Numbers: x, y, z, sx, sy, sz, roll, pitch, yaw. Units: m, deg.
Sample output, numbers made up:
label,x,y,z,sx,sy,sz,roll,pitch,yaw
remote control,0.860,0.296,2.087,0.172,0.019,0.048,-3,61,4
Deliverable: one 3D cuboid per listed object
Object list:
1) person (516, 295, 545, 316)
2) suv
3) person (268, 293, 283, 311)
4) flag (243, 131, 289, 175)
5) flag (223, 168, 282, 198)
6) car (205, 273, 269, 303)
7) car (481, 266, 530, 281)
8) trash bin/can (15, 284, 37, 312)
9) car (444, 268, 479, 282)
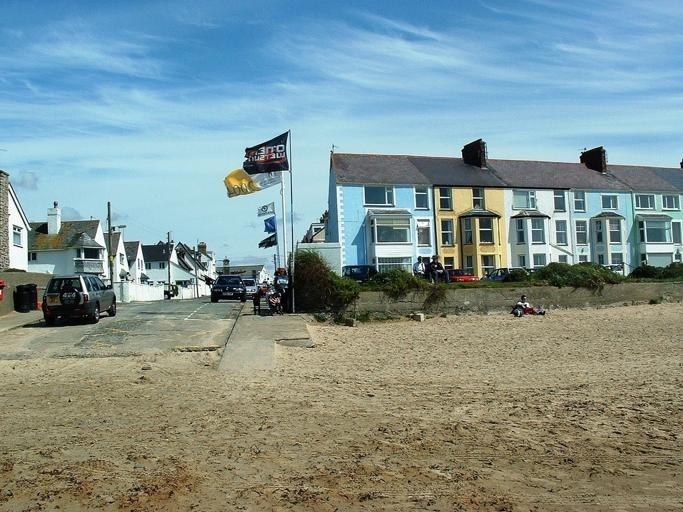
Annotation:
label,x,y,z,sx,sy,sz,roll,pitch,yaw
person,8.038,2.212,27.035,1.619,0.682,0.723,0,6,6
suv,-9.335,1.455,22.896,1.829,0.991,2.942,-1,1,8
person,-2.558,1.799,23.929,0.487,0.781,0.411,-2,5,-8
flag,-3.311,-4.523,28.049,2.435,1.614,0.719,2,6,42
flag,-4.182,-3.455,29.051,2.701,1.176,0.747,2,6,38
car,-6.320,1.874,36.741,2.400,1.226,4.348,0,-5,-1
car,9.161,1.146,34.689,1.482,0.876,2.171,1,2,-33
trash bin/can,-14.127,1.892,28.072,0.741,1.235,0.826,1,6,33
car,6.787,1.177,36.071,1.389,0.522,1.913,0,-2,-16
